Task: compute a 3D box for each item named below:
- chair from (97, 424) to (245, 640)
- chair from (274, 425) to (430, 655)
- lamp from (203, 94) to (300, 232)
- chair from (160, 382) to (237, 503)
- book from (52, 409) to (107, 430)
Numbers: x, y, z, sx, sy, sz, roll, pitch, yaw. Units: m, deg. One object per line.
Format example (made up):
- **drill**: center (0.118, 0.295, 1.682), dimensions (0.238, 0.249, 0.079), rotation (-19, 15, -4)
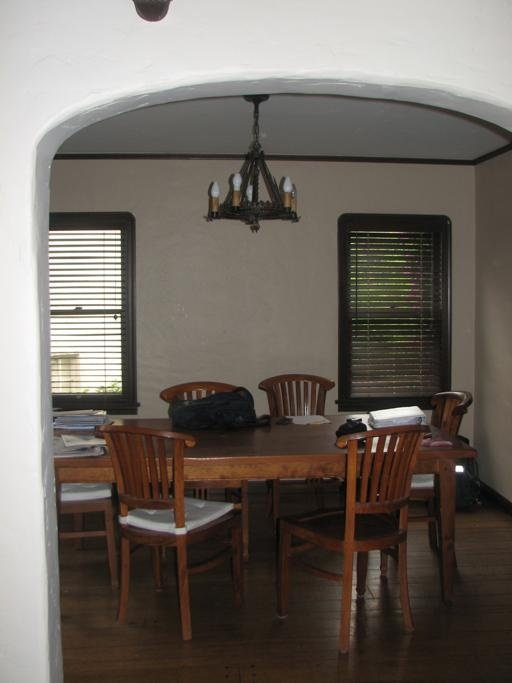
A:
- **chair**: center (-0.306, 0.668, 2.632), dimensions (0.499, 0.795, 0.694), rotation (0, 4, 8)
- **chair**: center (0.363, 0.676, 2.533), dimensions (0.548, 0.800, 0.533), rotation (-1, 4, -6)
- **lamp**: center (-0.005, -0.699, 2.729), dimensions (0.369, 0.483, 0.302), rotation (-1, 4, -16)
- **chair**: center (-0.285, 0.463, 3.384), dimensions (0.453, 0.534, 0.450), rotation (8, -11, -41)
- **book**: center (-0.786, 0.352, 3.024), dimensions (0.192, 0.050, 0.188), rotation (1, 0, -21)
